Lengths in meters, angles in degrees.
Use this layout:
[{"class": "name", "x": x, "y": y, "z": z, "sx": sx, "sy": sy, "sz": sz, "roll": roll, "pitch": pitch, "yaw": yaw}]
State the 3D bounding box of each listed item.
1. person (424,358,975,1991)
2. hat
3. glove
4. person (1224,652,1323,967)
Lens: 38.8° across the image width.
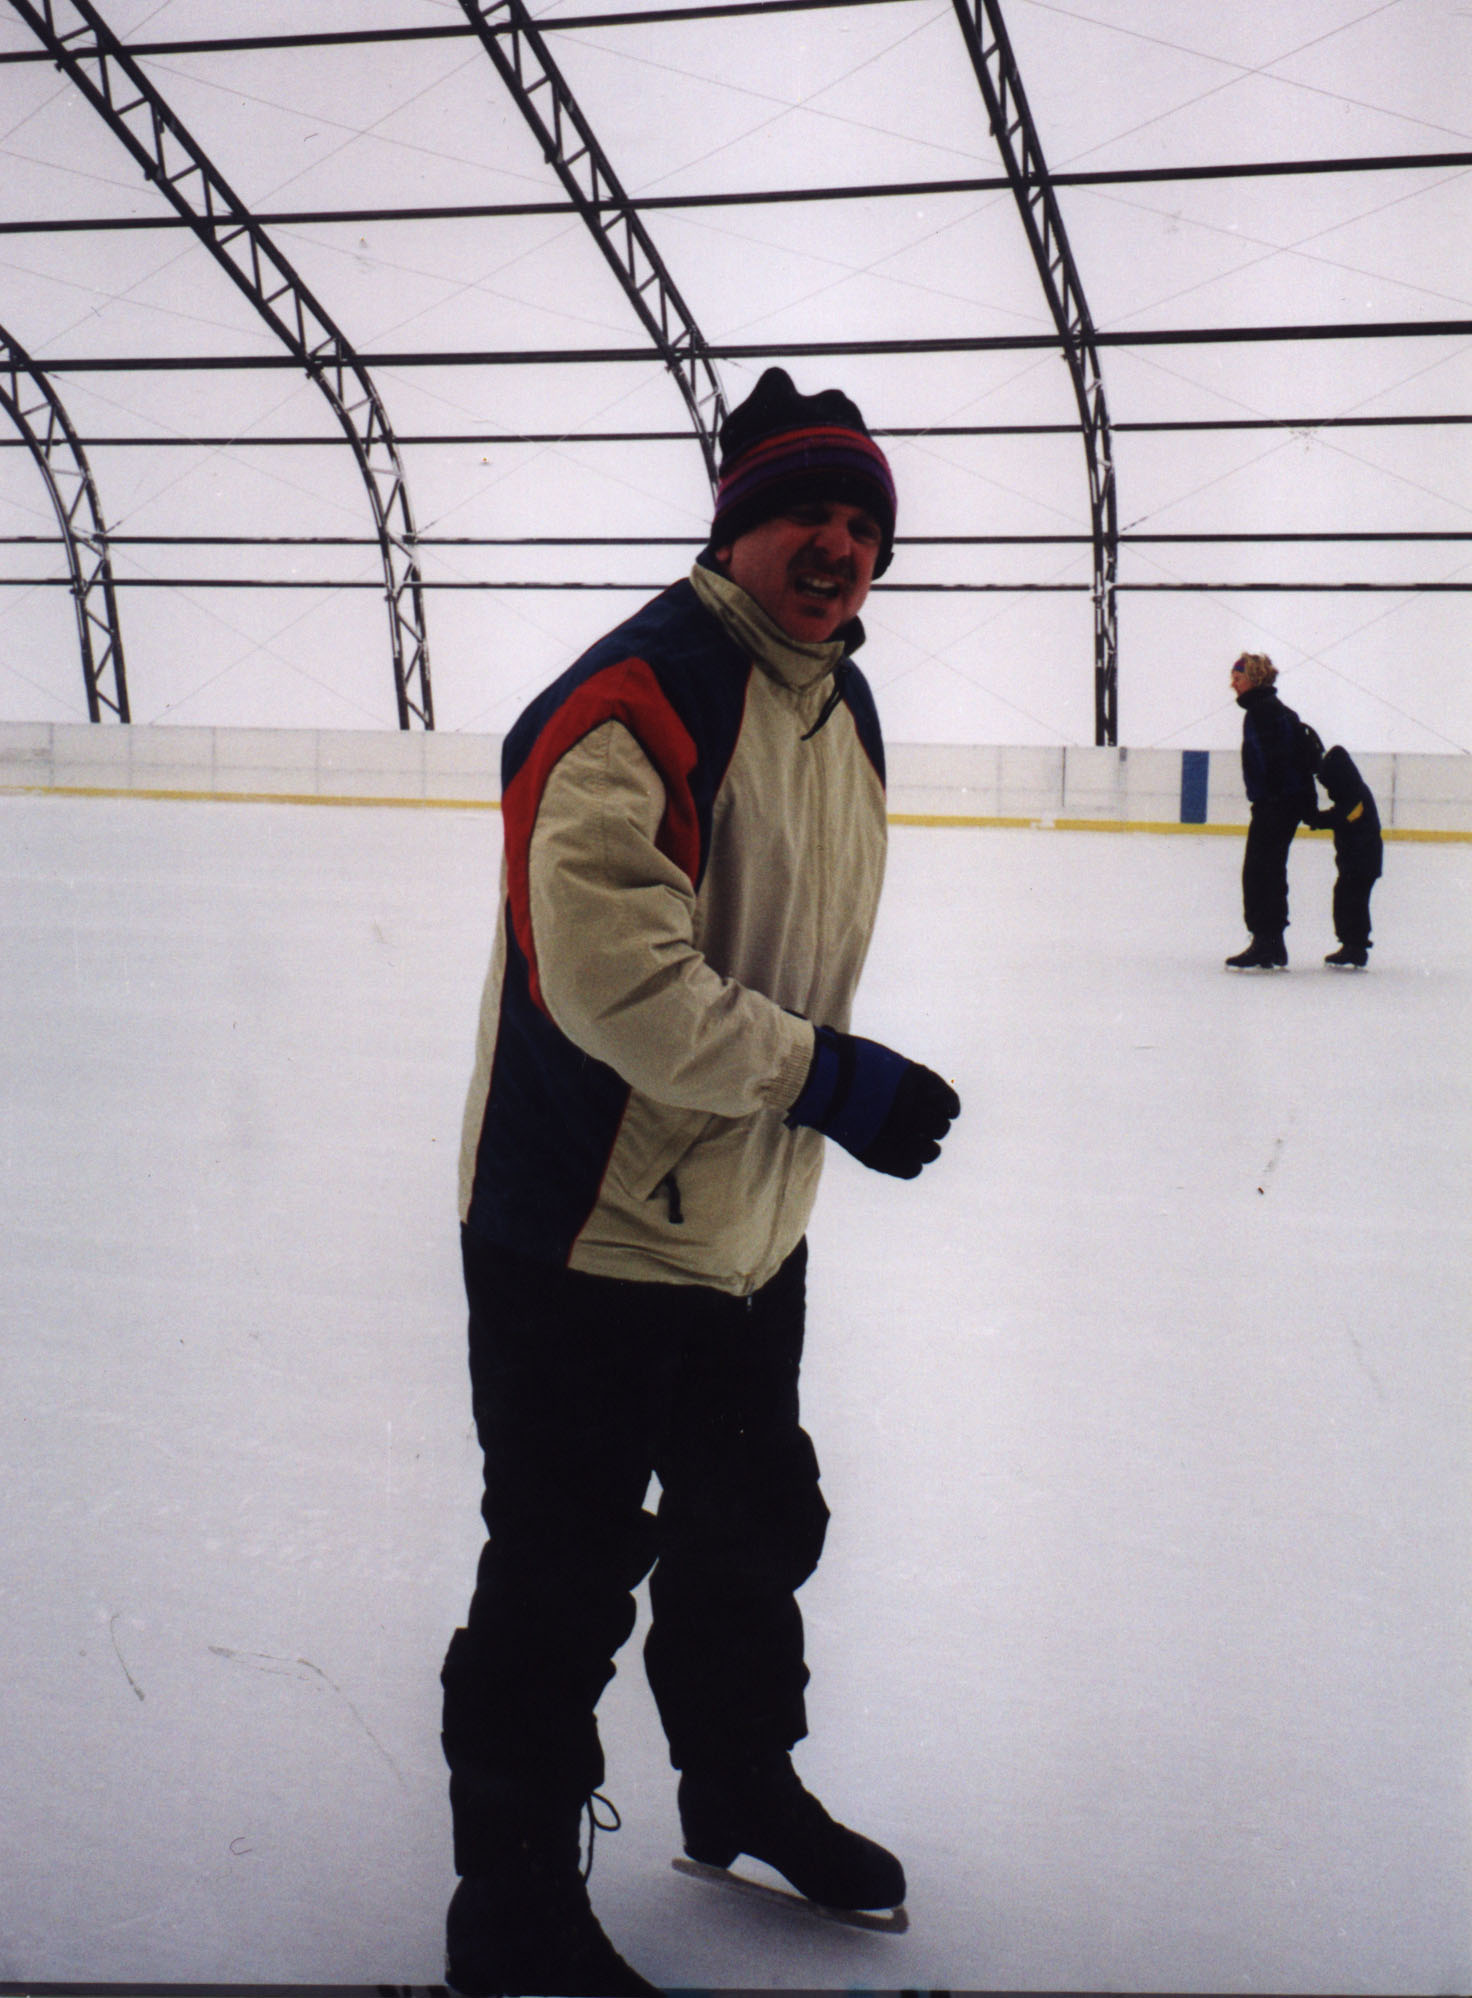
[{"class": "person", "x": -0.044, "y": 0.262, "z": 2.235, "sx": 0.505, "sy": 1.833, "sz": 0.422, "roll": 2, "pitch": 4, "yaw": -9}, {"class": "hat", "x": 0.075, "y": -0.545, "z": 2.241, "sx": 0.209, "sy": 0.216, "sz": 0.184, "roll": 12, "pitch": 19, "yaw": 25}, {"class": "glove", "x": 0.137, "y": 0.107, "z": 2.139, "sx": 0.182, "sy": 0.149, "sz": 0.084, "roll": 1, "pitch": 4, "yaw": -14}, {"class": "person", "x": 1.608, "y": -0.521, "z": 6.253, "sx": 0.257, "sy": 0.926, "sz": 1.589, "roll": 3, "pitch": 4, "yaw": 15}]
